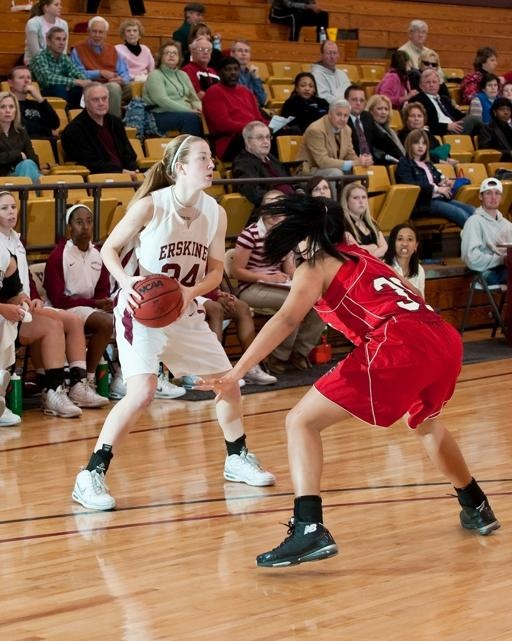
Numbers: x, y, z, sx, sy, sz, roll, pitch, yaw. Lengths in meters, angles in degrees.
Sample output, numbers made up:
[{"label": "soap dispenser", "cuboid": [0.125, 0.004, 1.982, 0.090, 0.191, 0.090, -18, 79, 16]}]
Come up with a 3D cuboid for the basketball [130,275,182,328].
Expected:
[{"label": "basketball", "cuboid": [-0.378, -0.072, 2.318, 0.226, 0.190, 0.211, 6, 7, -11]}]

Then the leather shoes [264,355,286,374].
[{"label": "leather shoes", "cuboid": [0.177, 0.416, 5.292, 0.256, 0.097, 0.111, 6, 3, 41]}]

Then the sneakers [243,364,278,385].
[{"label": "sneakers", "cuboid": [0.040, 0.468, 5.010, 0.442, 0.179, 0.162, 2, 1, 27]}]

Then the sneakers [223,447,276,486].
[{"label": "sneakers", "cuboid": [-0.046, 0.690, 2.743, 0.297, 0.139, 0.106, 4, 8, 33]}]

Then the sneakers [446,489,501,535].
[{"label": "sneakers", "cuboid": [0.734, 0.655, 1.988, 0.090, 0.111, 0.175, -16, 9, -4]}]

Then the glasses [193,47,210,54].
[{"label": "glasses", "cuboid": [-0.738, -3.653, 7.814, 0.162, 0.066, 0.082, -3, -5, -5]}]

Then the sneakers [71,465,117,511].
[{"label": "sneakers", "cuboid": [-0.666, 0.699, 2.407, 0.107, 0.101, 0.257, 2, 0, -40]}]

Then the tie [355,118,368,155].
[{"label": "tie", "cuboid": [1.375, -2.385, 7.495, 0.121, 0.553, 0.271, -7, -6, 19]}]

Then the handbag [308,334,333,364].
[{"label": "handbag", "cuboid": [0.643, 0.265, 5.626, 0.278, 0.405, 0.318, 2, 1, 6]}]

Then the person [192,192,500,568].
[{"label": "person", "cuboid": [0.205, 0.271, 2.300, 1.176, 1.344, 1.059, -4, -10, 13]}]
